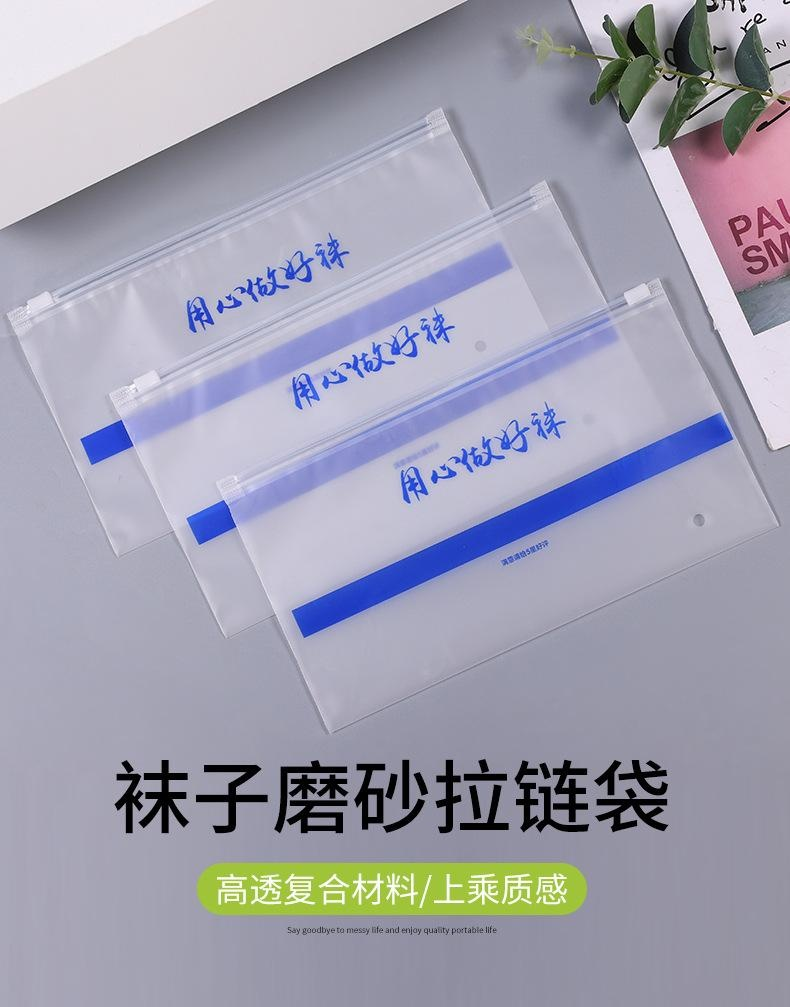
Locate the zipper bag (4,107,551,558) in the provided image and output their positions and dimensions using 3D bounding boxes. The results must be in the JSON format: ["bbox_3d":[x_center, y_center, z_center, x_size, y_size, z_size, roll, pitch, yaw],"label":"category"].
[{"bbox_3d":[-0.080,-0.188,0.950,0.444,0.258,0.070,-24,-3,2],"label":"zipper bag"}]

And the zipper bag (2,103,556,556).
[{"bbox_3d":[-0.082,-0.192,0.965,0.444,0.257,0.067,-24,-2,2],"label":"zipper bag"}]
